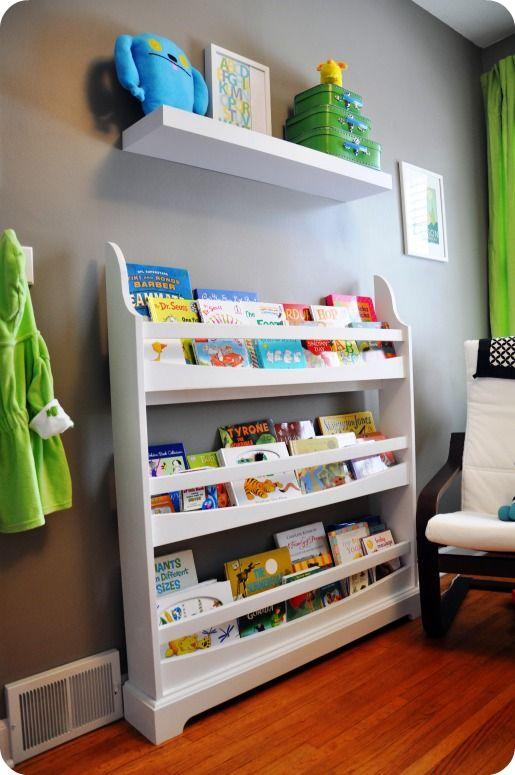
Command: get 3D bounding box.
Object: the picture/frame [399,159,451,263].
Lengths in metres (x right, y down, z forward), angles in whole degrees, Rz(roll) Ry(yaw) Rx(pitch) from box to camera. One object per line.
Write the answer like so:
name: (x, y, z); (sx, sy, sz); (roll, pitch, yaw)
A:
picture/frame: (0.738, -0.786, 2.531); (0.018, 0.557, 0.492); (-9, -9, 39)

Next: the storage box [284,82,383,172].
storage box: (0.251, -0.837, 1.921); (0.333, 0.260, 0.258); (2, -5, -43)
